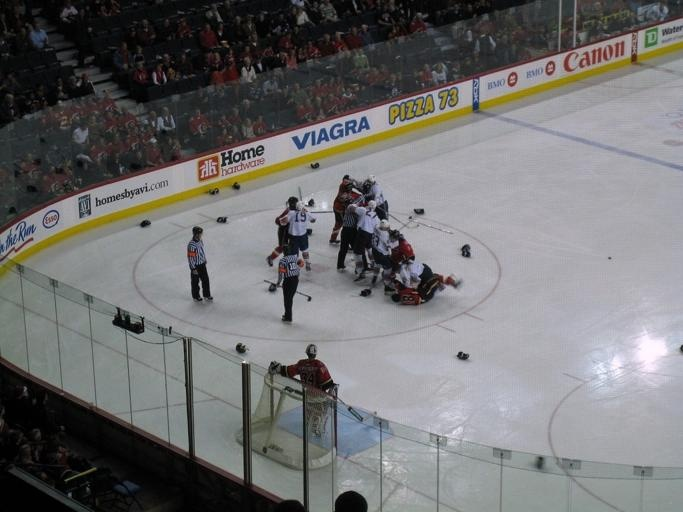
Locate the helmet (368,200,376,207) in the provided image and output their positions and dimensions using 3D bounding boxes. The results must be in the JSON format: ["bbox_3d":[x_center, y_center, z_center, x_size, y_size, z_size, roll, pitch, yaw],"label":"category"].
[{"bbox_3d":[0.600,-1.030,19.012,0.110,0.128,0.130,3,-7,33],"label":"helmet"}]

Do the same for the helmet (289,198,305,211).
[{"bbox_3d":[-0.926,-1.051,18.850,0.278,0.257,0.347,-13,25,0],"label":"helmet"}]

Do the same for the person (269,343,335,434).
[{"bbox_3d":[-0.557,1.909,13.421,0.969,1.399,0.585,-4,-14,23],"label":"person"}]

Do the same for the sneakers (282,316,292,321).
[{"bbox_3d":[-1.027,1.169,17.808,0.182,0.117,0.085,4,15,28],"label":"sneakers"}]

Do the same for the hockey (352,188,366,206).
[{"bbox_3d":[0.348,-1.174,19.670,0.210,0.372,0.638,-9,25,10],"label":"hockey"}]

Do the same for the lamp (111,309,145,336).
[{"bbox_3d":[-2.998,0.935,13.196,0.575,0.299,0.170,19,37,29],"label":"lamp"}]
